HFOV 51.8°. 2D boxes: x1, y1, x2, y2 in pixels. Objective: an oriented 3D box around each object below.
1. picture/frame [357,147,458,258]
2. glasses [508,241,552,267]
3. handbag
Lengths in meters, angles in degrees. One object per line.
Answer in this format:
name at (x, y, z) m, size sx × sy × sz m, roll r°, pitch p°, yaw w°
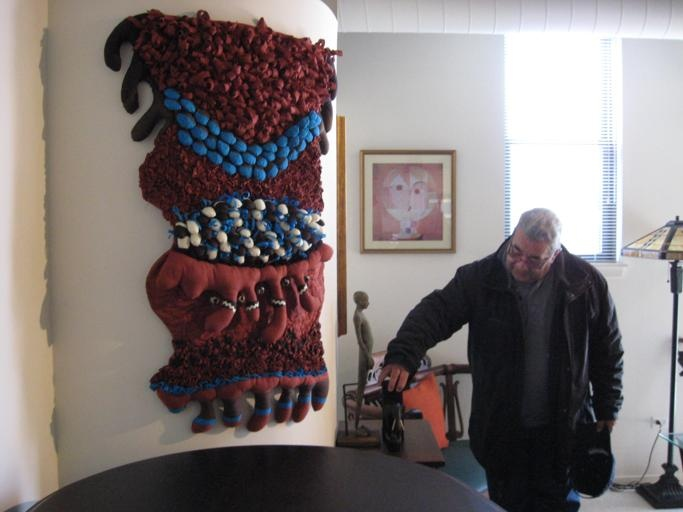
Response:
picture/frame at (0.367, -0.318, 4.004) m, size 0.584 × 0.618 × 0.026 m, roll 0°, pitch 0°, yaw -4°
glasses at (0.756, -0.001, 2.835) m, size 0.104 × 0.055 × 0.123 m, roll 0°, pitch -16°, yaw 39°
handbag at (1.031, 0.773, 2.941) m, size 0.125 × 0.401 × 0.234 m, roll -3°, pitch 5°, yaw 24°
